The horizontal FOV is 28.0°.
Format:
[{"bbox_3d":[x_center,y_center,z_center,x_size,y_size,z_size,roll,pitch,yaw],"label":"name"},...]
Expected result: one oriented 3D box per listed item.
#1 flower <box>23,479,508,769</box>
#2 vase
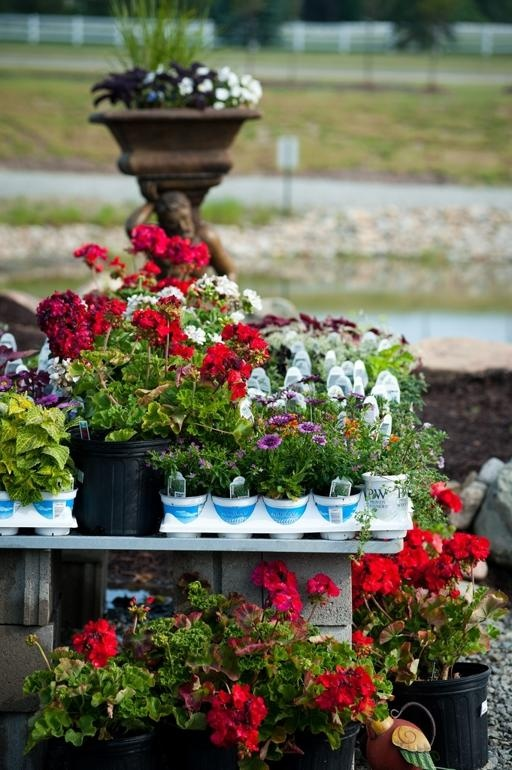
[{"bbox_3d":[0.075,0.586,2.808,0.989,0.296,0.836,-2,0,-41],"label":"flower"},{"bbox_3d":[-0.354,-0.813,4.468,0.730,0.739,0.730,-10,13,-35],"label":"vase"}]
